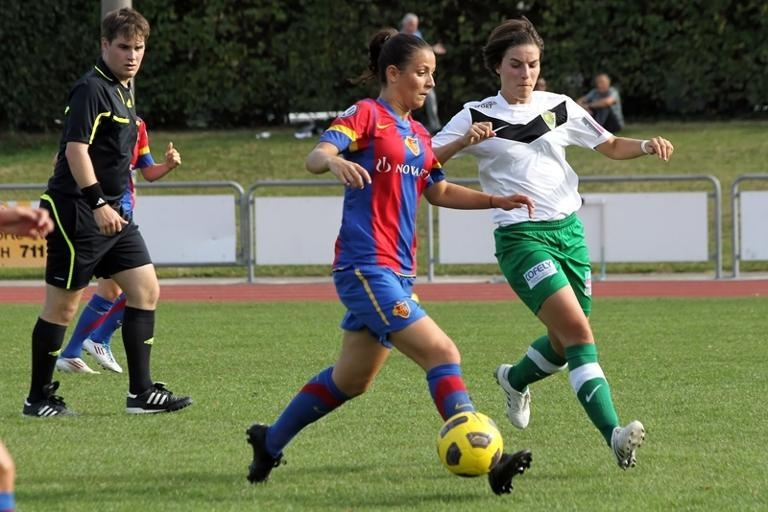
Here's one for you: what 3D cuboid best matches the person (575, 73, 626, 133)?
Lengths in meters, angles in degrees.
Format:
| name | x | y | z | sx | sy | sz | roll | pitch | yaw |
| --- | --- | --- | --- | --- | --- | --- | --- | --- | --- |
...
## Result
| name | x | y | z | sx | sy | sz | roll | pitch | yaw |
| --- | --- | --- | --- | --- | --- | --- | --- | --- | --- |
| person | 3.718 | -2.446 | 20.161 | 0.774 | 1.273 | 0.615 | 7 | -4 | -42 |

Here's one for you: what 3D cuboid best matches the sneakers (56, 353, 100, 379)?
| name | x | y | z | sx | sy | sz | roll | pitch | yaw |
| --- | --- | --- | --- | --- | --- | --- | --- | --- | --- |
| sneakers | -3.303 | 1.157 | 12.491 | 0.497 | 0.219 | 0.182 | 7 | 5 | -11 |

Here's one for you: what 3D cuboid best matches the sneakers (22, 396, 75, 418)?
| name | x | y | z | sx | sy | sz | roll | pitch | yaw |
| --- | --- | --- | --- | --- | --- | --- | --- | --- | --- |
| sneakers | -3.255 | 1.434 | 11.379 | 0.569 | 0.234 | 0.192 | 0 | 1 | -3 |

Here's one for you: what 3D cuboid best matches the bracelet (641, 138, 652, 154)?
| name | x | y | z | sx | sy | sz | roll | pitch | yaw |
| --- | --- | --- | --- | --- | --- | --- | --- | --- | --- |
| bracelet | 2.402 | -1.024 | 10.899 | 0.102 | 0.099 | 0.109 | -17 | -41 | 28 |

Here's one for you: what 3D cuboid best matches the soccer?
| name | x | y | z | sx | sy | sz | roll | pitch | yaw |
| --- | --- | --- | --- | --- | --- | --- | --- | --- | --- |
| soccer | 0.699 | 1.623 | 10.067 | 0.547 | 0.623 | 0.564 | 8 | -11 | -23 |

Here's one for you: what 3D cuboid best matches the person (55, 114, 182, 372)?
| name | x | y | z | sx | sy | sz | roll | pitch | yaw |
| --- | --- | --- | --- | --- | --- | --- | --- | --- | --- |
| person | -2.802 | -0.275 | 12.117 | 1.194 | 3.274 | 0.931 | 5 | 14 | -12 |
